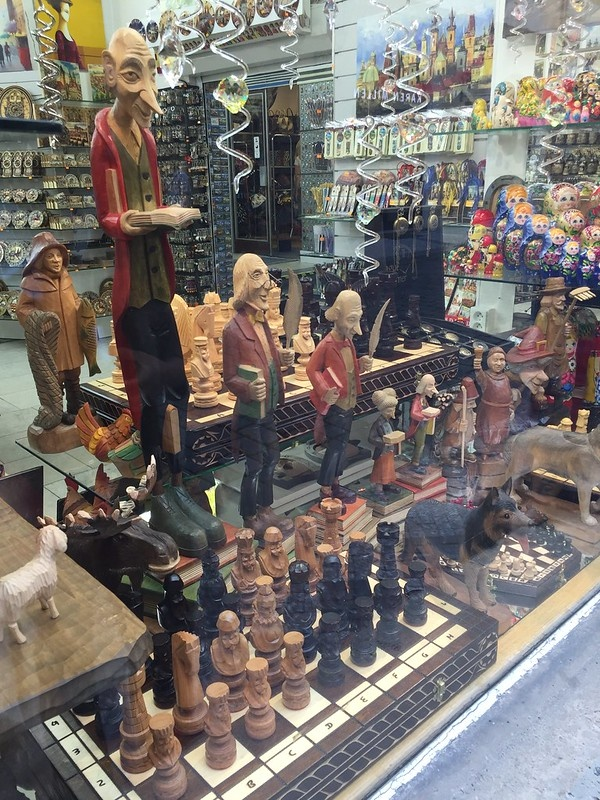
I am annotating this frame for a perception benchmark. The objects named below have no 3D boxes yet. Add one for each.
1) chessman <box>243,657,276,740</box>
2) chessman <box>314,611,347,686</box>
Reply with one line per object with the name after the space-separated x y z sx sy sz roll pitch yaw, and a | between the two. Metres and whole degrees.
-0.085 0.601 1.181 0.084 0.137 0.098 -1 25 -16 | chessman
0.073 0.588 1.354 0.068 0.148 0.066 2 -15 -9 | chessman
